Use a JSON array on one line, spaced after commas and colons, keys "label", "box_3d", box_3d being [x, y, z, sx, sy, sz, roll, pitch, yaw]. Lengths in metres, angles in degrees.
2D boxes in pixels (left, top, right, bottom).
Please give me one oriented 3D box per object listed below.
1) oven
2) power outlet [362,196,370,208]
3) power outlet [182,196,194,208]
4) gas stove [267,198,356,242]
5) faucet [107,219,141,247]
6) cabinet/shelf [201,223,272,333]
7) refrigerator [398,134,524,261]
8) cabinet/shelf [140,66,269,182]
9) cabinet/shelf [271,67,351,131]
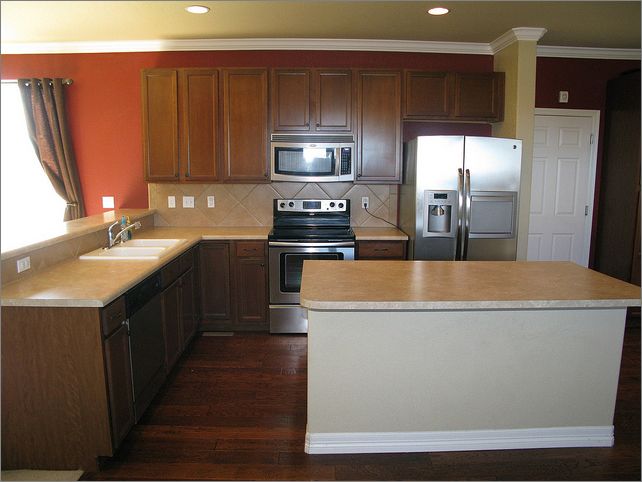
[{"label": "oven", "box_3d": [-0.127, 0.388, 5.443, 0.932, 1.053, 0.712, 0, 17, -6]}, {"label": "power outlet", "box_3d": [0.497, -0.435, 5.685, 0.072, 0.128, 0.014, -3, 11, -13]}, {"label": "power outlet", "box_3d": [-1.488, -0.447, 5.635, 0.116, 0.131, 0.017, 0, 2, -5]}, {"label": "gas stove", "box_3d": [-0.096, -0.256, 5.362, 0.871, 0.344, 0.645, 0, 10, 0]}, {"label": "faucet", "box_3d": [-1.787, -0.073, 4.595, 0.271, 0.181, 0.260, -2, 8, -2]}, {"label": "cabinet/shelf", "box_3d": [-0.847, 0.406, 5.469, 0.888, 1.257, 0.872, 0, 3, -3]}, {"label": "refrigerator", "box_3d": [1.549, -0.250, 5.348, 1.006, 1.810, 0.811, 3, 22, 21]}, {"label": "cabinet/shelf", "box_3d": [-1.186, -1.250, 5.213, 1.130, 0.966, 0.439, 0, 4, 0]}, {"label": "cabinet/shelf", "box_3d": [-0.139, -1.488, 5.182, 0.640, 0.472, 0.244, 0, 6, -2]}]
